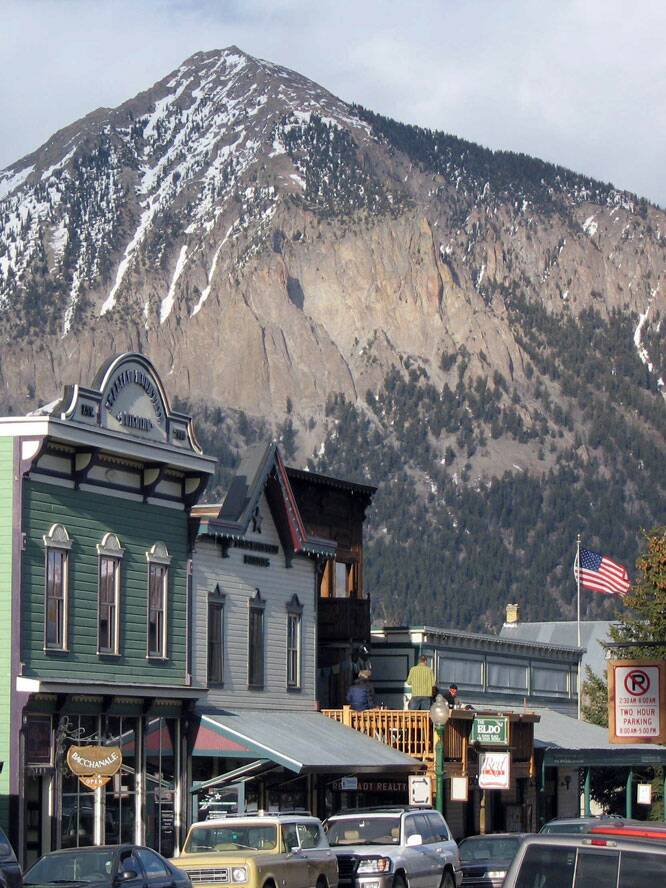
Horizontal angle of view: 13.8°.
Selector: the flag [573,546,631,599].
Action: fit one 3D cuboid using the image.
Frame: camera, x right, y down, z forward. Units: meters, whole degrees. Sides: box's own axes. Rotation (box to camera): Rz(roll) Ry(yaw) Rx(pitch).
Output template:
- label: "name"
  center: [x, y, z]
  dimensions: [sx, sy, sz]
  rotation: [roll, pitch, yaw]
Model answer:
- label: "flag"
  center: [8.487, 4.220, 87.482]
  dimensions: [1.441, 1.701, 4.622]
  rotation: [1, -6, 2]
